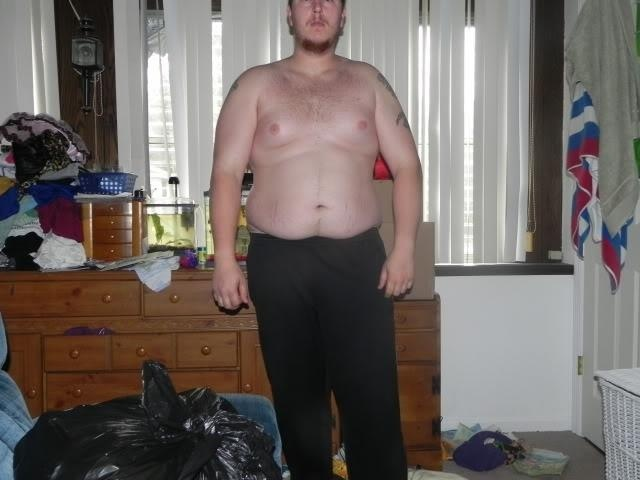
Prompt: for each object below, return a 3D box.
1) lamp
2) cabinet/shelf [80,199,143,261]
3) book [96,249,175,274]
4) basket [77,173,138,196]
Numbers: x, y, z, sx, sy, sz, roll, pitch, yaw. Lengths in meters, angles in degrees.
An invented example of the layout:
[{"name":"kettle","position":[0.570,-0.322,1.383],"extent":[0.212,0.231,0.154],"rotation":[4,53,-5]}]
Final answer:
[{"name":"lamp","position":[-1.250,-0.947,3.289],"extent":[0.163,0.531,0.179],"rotation":[-3,6,-18]},{"name":"cabinet/shelf","position":[-1.062,0.024,3.108],"extent":[0.274,0.397,0.226],"rotation":[5,-36,-28]},{"name":"book","position":[-0.903,0.106,2.946],"extent":[0.459,0.042,0.371],"rotation":[-9,7,-26]},{"name":"basket","position":[-1.077,-0.290,3.097],"extent":[0.280,0.113,0.114],"rotation":[-5,7,-26]}]
